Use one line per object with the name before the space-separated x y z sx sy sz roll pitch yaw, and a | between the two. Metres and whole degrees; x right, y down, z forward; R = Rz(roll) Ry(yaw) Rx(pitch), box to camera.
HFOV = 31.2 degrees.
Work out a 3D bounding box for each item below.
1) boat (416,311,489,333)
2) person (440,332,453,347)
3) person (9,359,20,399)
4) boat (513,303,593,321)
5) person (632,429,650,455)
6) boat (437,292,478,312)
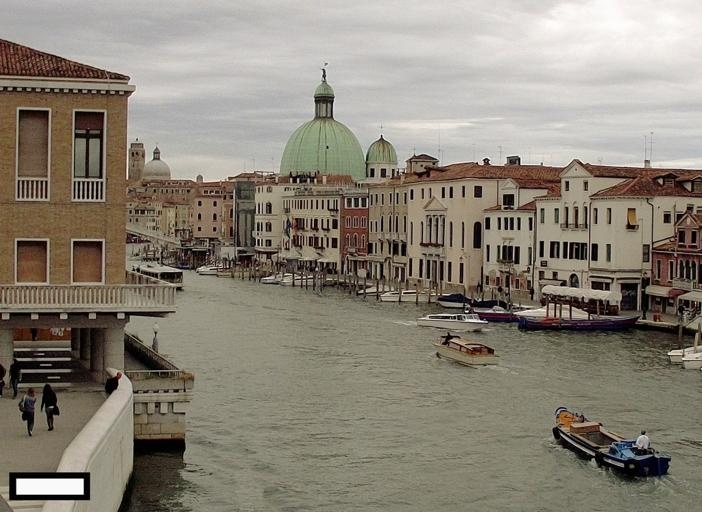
boat | 6.911 4.630 86.221 4.525 0.898 1.562 2 1 30
person | 5.684 5.056 74.986 0.719 0.645 0.664 2 -4 -7
person | -12.903 4.758 48.449 0.380 1.327 1.488 -2 1 -15
boat | 13.763 3.972 86.644 5.305 1.039 1.496 2 -2 10
person | 11.905 7.844 52.009 0.626 0.677 0.566 -1 1 7
boat | 8.066 3.708 98.178 1.007 0.948 3.011 5 1 -40
